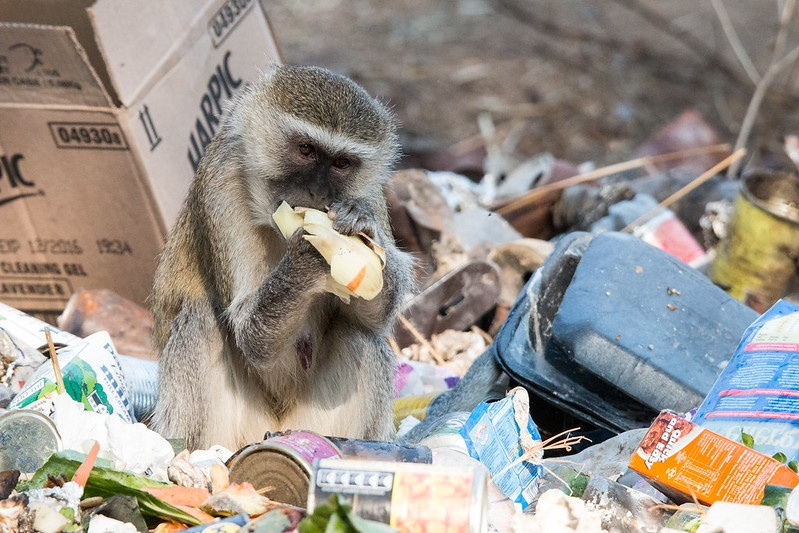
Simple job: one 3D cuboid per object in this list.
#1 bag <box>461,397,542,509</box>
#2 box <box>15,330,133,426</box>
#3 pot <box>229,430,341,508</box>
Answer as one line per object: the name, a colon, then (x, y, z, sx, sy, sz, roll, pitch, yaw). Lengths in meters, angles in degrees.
bag: (0.437, 0.808, 3.634, 0.110, 0.433, 0.388, -25, -46, 31)
box: (-1.560, 0.508, 3.782, 0.451, 0.622, 0.230, 3, 31, 14)
pot: (-0.470, 0.799, 3.294, 0.296, 0.319, 0.325, -6, -3, 23)
